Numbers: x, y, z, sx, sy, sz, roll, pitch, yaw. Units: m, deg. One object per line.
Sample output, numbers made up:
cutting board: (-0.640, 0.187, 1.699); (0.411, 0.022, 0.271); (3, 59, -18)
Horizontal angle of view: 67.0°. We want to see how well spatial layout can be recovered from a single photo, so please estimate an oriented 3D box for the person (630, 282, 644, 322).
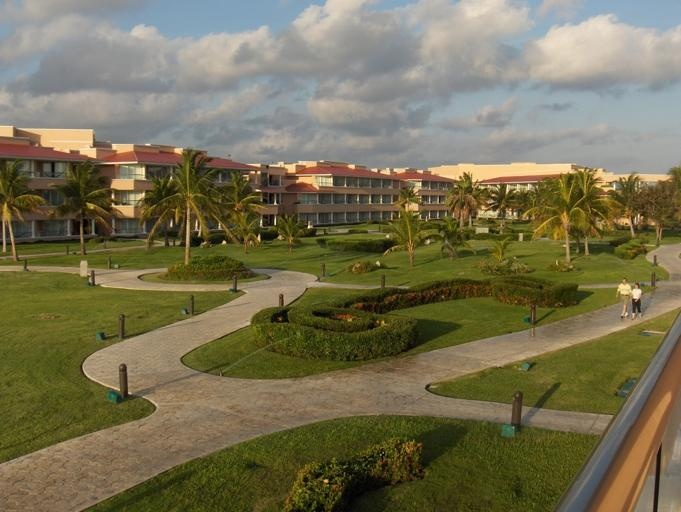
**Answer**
person: (14.945, 2.211, 26.018); (0.486, 1.802, 1.462); (2, 7, 29)
